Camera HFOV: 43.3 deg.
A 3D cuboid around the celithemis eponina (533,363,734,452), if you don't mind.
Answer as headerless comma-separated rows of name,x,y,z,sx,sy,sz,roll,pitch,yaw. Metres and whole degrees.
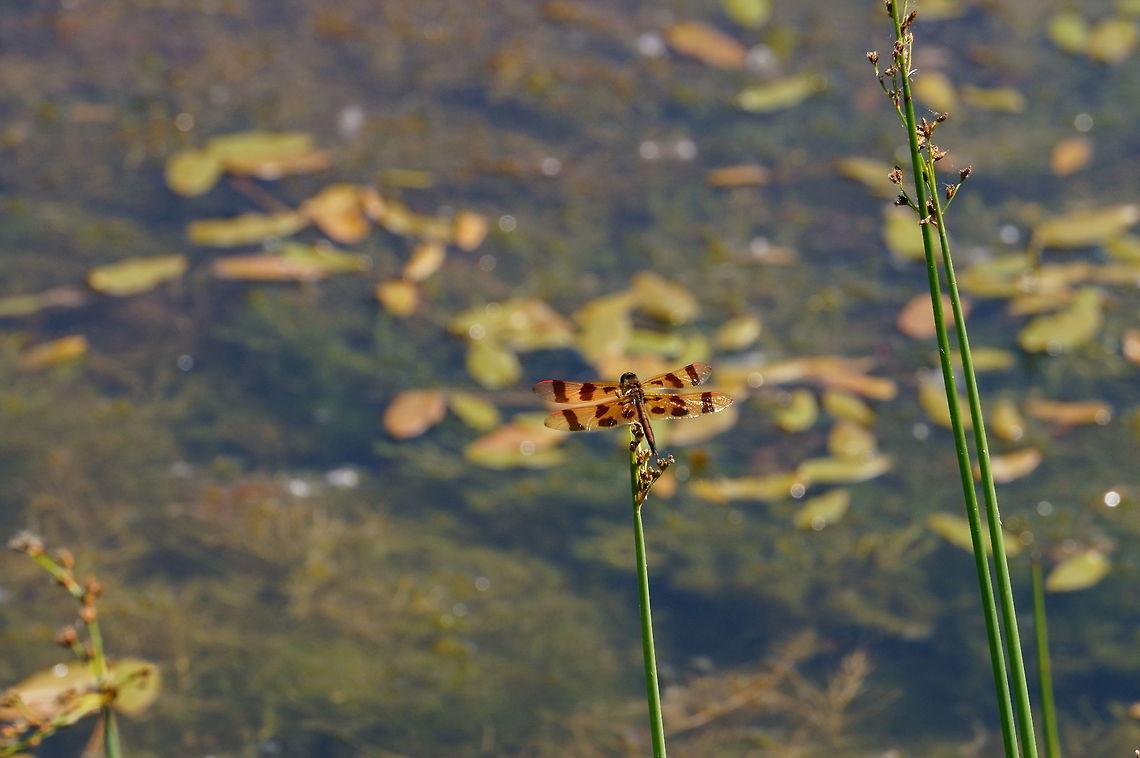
celithemis eponina,0.183,0.073,3.632,0.474,0.266,0.129,-8,-66,-12
